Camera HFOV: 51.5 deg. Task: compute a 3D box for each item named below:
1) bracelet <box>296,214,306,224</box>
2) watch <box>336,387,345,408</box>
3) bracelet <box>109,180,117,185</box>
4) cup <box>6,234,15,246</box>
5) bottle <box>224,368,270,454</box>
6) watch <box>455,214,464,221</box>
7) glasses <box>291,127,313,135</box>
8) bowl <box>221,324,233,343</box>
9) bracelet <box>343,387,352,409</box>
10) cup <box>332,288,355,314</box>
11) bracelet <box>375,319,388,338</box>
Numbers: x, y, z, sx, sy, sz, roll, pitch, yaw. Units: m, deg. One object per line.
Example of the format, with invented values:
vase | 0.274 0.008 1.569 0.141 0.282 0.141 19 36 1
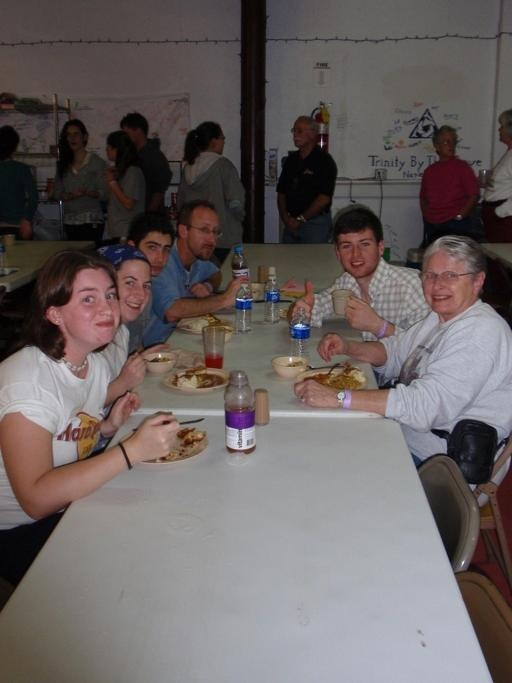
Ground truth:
bracelet | 0.467 -1.252 5.401 0.109 0.053 0.151 6 -8 5
watch | 0.253 0.166 1.570 0.028 0.044 0.044 -1 12 7
bracelet | -1.314 -1.481 4.921 0.044 0.040 0.042 0 9 -13
cup | -2.099 -0.869 4.530 0.075 0.080 0.091 3 16 -1
bottle | -0.023 0.187 1.375 0.088 0.212 0.161 1 13 15
watch | 2.220 -1.353 5.777 0.047 0.053 0.061 1 17 10
glasses | 0.458 -2.113 5.305 0.196 0.080 0.070 11 22 37
bowl | -0.128 -0.040 2.389 0.061 0.051 0.067 -1 22 0
bracelet | 0.271 0.170 1.562 0.016 0.043 0.031 5 -4 -21
cup | 0.377 -0.171 2.392 0.116 0.107 0.095 12 32 19
bracelet | 0.556 -0.057 2.346 0.037 0.074 0.056 19 44 10
